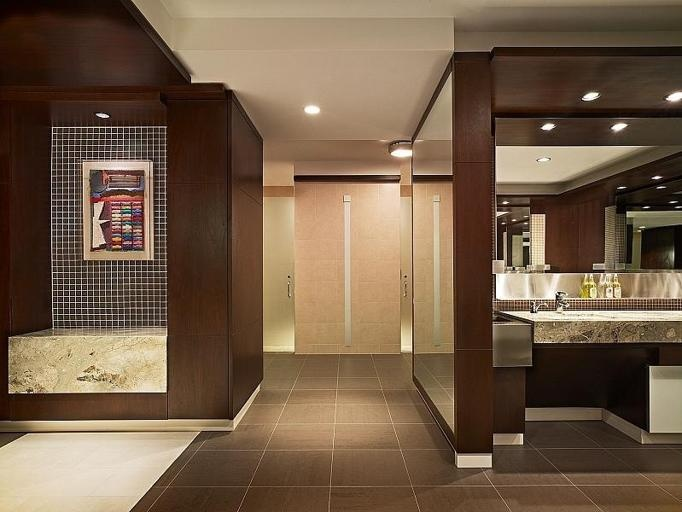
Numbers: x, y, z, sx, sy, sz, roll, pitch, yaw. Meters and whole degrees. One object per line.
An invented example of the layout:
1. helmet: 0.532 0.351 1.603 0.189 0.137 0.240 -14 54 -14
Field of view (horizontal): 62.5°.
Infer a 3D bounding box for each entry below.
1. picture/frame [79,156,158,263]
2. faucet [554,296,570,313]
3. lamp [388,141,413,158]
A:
1. picture/frame: -2.120 -0.444 5.377 0.742 0.926 0.212 1 12 8
2. faucet: 2.145 0.459 5.424 0.082 0.147 0.215 9 14 39
3. lamp: 0.721 -1.331 6.846 0.274 0.184 0.462 0 11 4
